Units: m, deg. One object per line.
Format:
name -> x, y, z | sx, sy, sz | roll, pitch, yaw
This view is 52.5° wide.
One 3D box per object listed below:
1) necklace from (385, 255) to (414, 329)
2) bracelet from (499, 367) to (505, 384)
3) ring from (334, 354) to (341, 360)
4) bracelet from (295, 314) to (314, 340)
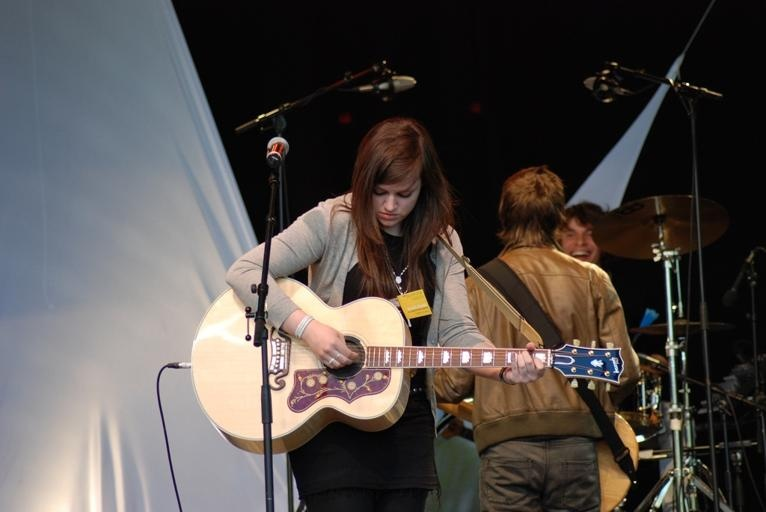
necklace -> 0.096, 0.209, 4.452 | 0.168, 0.368, 0.049 | -17, -3, -28
bracelet -> 0.671, 0.674, 4.339 | 0.020, 0.068, 0.044 | 3, 0, -34
ring -> -0.250, 0.557, 4.267 | 0.030, 0.025, 0.018 | 5, -23, -15
bracelet -> -0.442, 0.403, 4.324 | 0.023, 0.108, 0.107 | 18, -8, 6
